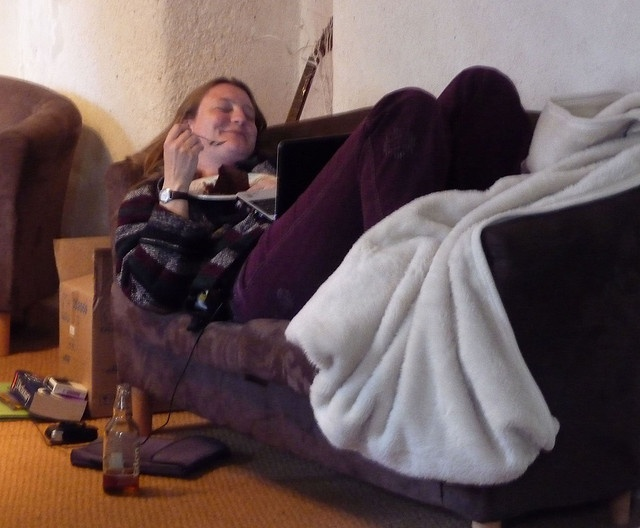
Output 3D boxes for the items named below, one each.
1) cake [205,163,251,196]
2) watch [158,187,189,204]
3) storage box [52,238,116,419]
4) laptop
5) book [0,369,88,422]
[{"bbox_3d":[-0.255,-0.226,1.786,0.102,0.123,0.042,7,-13,-21],"label":"cake"},{"bbox_3d":[-0.356,-0.164,1.582,0.043,0.047,0.044,2,-9,12],"label":"watch"},{"bbox_3d":[-0.684,0.148,1.974,0.219,0.322,0.165,16,24,29],"label":"storage box"},{"bbox_3d":[-0.062,-0.200,1.440,0.222,0.166,0.154,-24,32,-28],"label":"laptop"},{"bbox_3d":[-0.739,0.356,1.814,0.149,0.069,0.155,10,6,-33],"label":"book"}]
